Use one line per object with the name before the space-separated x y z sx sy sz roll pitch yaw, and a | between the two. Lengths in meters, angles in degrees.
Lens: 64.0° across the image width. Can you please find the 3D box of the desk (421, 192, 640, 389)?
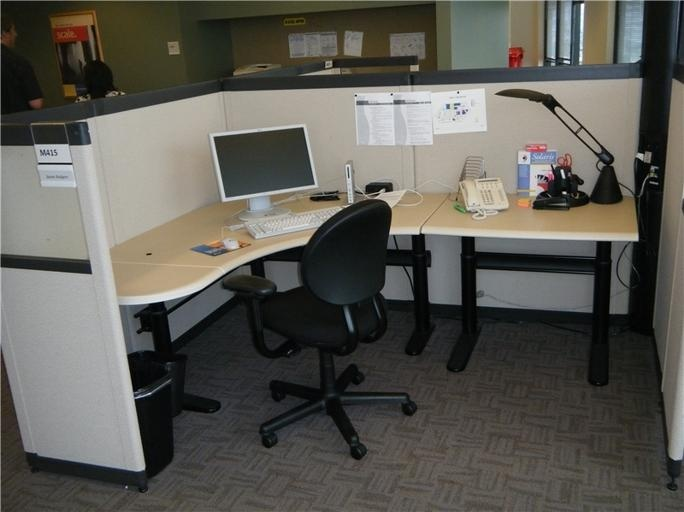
desk | 1.046 -0.065 3.094 1.178 0.934 0.997 4 20 20

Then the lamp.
lamp | 1.187 -0.596 2.923 0.599 0.603 0.266 1 20 15

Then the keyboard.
keyboard | -0.279 -0.207 2.801 0.075 0.186 0.580 -1 6 36

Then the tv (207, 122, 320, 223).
tv | -0.431 -0.468 3.030 0.591 0.480 0.153 -13 25 -29

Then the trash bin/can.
trash bin/can | -0.854 0.711 2.524 0.175 0.438 0.398 -12 21 -19

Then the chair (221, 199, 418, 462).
chair | -0.062 0.265 2.547 0.713 1.085 0.777 9 18 30

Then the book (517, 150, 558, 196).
book | 1.080 -0.460 3.009 0.252 0.293 0.096 1 6 8
